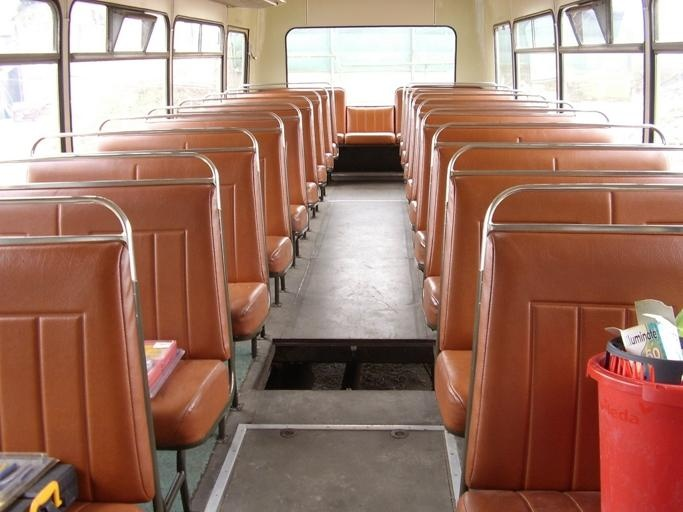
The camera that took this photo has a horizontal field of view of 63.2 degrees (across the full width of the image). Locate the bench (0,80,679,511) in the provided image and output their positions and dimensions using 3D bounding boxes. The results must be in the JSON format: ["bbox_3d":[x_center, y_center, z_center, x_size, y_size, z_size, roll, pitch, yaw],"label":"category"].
[{"bbox_3d":[-0.051,0.151,2.683,2.822,1.885,0.987,0,15,5],"label":"bench"}]
